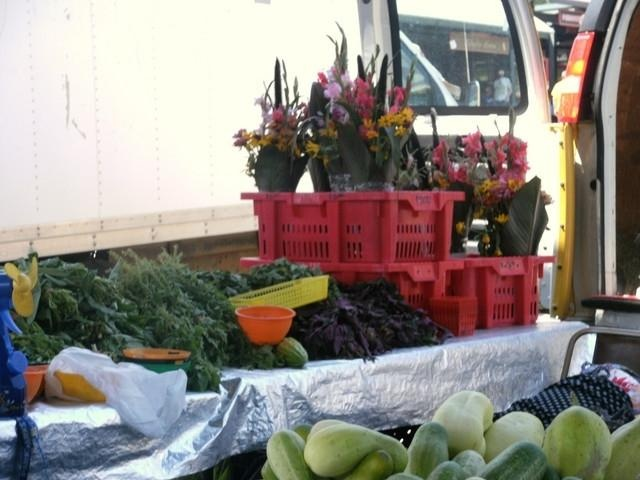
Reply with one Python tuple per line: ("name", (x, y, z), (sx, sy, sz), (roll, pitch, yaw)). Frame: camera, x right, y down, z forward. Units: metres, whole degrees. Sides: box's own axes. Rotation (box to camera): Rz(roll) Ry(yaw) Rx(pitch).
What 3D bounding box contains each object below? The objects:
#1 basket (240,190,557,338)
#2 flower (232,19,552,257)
("basket", (0.488, 0.171, 3.396), (1.432, 0.953, 0.896), (-3, 4, 18))
("flower", (0.328, -0.638, 3.566), (1.741, 1.938, 0.921), (-6, 9, -31))
